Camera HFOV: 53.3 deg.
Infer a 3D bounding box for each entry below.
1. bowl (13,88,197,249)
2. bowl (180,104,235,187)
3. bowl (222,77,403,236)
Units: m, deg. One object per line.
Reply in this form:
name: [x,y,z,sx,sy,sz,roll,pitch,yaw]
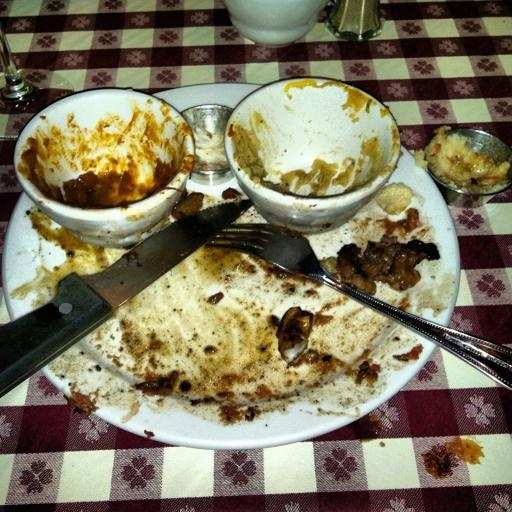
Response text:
bowl: [-0.284,-0.171,1.018,0.400,0.178,0.298,8,75,-7]
bowl: [-0.112,-0.227,1.072,0.180,0.063,0.141,0,91,-1]
bowl: [0.098,-0.204,0.963,0.392,0.180,0.293,7,72,-3]
